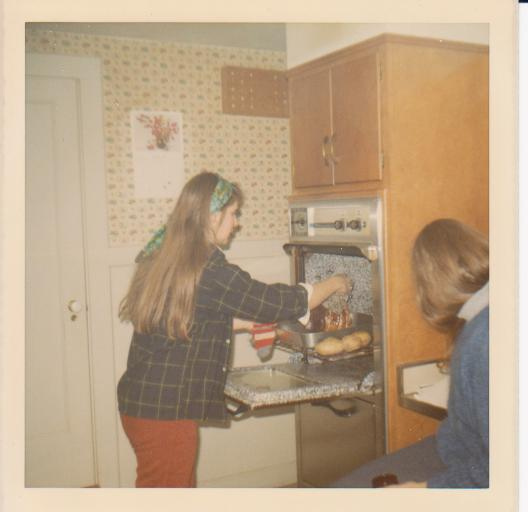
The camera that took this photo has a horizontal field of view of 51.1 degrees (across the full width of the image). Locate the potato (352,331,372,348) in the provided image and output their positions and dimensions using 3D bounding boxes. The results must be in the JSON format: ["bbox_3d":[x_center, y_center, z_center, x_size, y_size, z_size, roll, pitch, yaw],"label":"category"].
[{"bbox_3d":[0.292,0.237,1.597,0.040,0.053,0.029,6,0,16],"label":"potato"}]

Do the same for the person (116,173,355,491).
[{"bbox_3d":[-0.173,0.140,1.964,0.803,1.464,0.452,-5,10,-23],"label":"person"}]

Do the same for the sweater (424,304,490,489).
[{"bbox_3d":[0.561,0.393,1.582,0.180,0.491,0.207,6,11,23],"label":"sweater"}]

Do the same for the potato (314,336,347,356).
[{"bbox_3d":[0.196,0.261,1.595,0.073,0.025,0.055,1,19,22],"label":"potato"}]

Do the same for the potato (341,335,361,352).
[{"bbox_3d":[0.257,0.249,1.596,0.038,0.041,0.052,0,20,0],"label":"potato"}]

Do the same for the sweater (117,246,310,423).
[{"bbox_3d":[-0.174,0.153,1.536,0.385,0.517,0.372,1,9,-6],"label":"sweater"}]
